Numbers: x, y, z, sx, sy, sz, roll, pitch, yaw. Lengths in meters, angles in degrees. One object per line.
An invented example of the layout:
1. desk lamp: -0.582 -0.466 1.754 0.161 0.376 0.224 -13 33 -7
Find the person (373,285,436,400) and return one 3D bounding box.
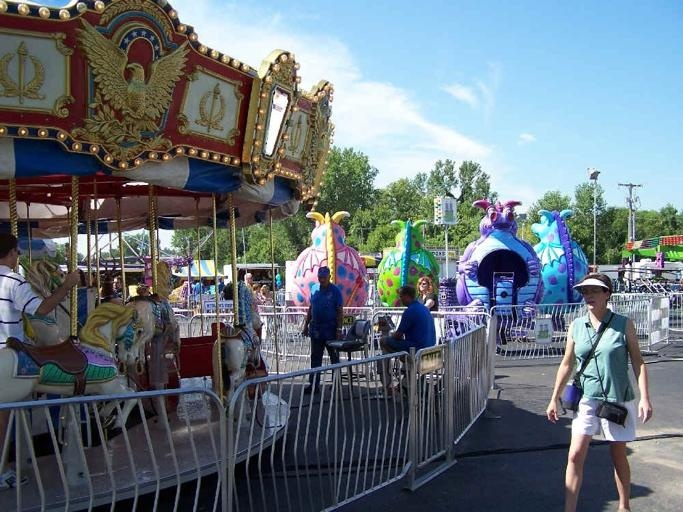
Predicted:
1. person: 0.862 1.130 8.569 0.783 1.396 2.278 1 2 7

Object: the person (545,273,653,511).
1. person: 2.321 1.227 5.906 0.765 2.134 0.550 1 1 2

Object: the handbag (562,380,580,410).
1. handbag: 2.087 1.268 5.894 0.157 0.261 0.147 18 -25 20

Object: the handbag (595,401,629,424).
1. handbag: 2.379 1.376 5.705 0.216 0.179 0.088 19 -21 13
